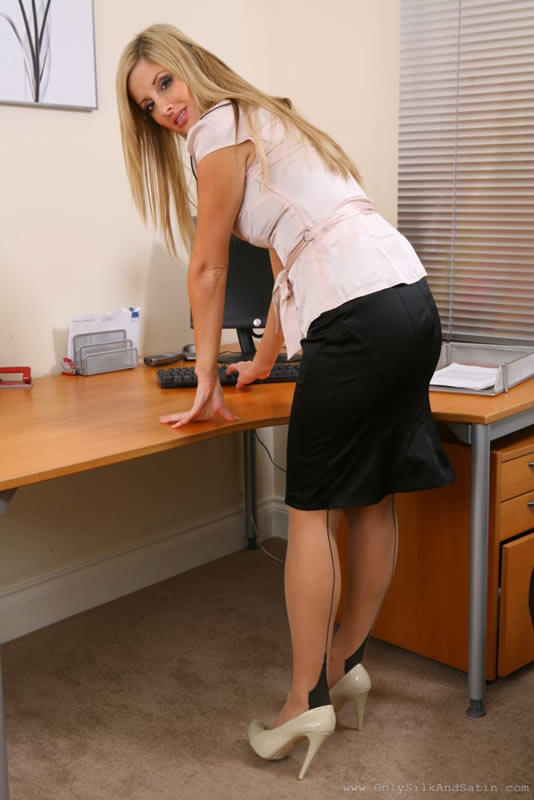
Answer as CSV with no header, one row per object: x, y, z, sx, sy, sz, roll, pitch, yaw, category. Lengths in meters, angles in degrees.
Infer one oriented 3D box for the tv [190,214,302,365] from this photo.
-0.031,-0.399,2.030,0.283,0.543,0.180,-2,17,-27,tv

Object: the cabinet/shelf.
0.479,0.369,1.820,0.581,0.695,0.375,4,8,37,cabinet/shelf

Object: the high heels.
0.084,0.664,1.366,0.119,0.225,0.382,1,-15,-32,high heels

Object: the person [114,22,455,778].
0.009,0.025,1.234,0.606,1.443,0.332,2,7,36,person
